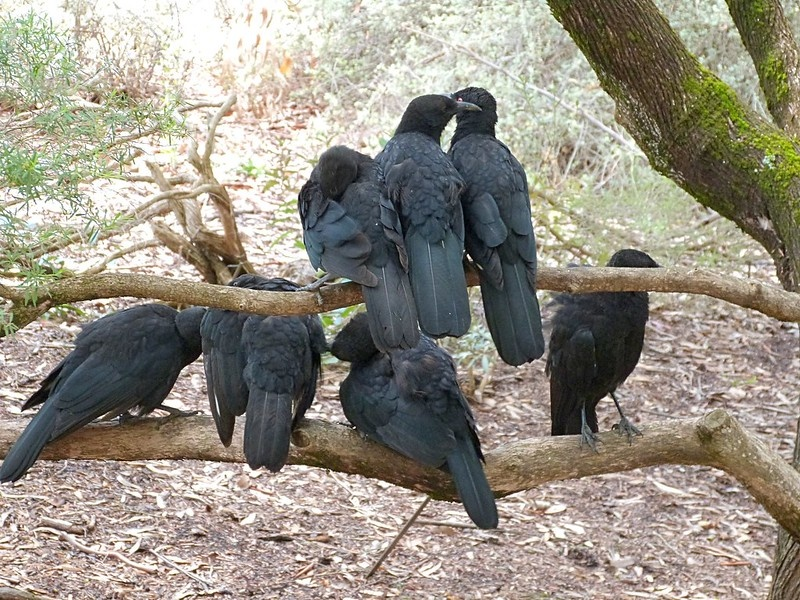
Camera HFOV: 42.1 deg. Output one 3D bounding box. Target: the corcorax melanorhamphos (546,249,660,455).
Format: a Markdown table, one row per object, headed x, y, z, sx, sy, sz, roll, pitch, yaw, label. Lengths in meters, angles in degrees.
| x | y | z | sx | sy | sz | roll | pitch | yaw | label |
| --- | --- | --- | --- | --- | --- | --- | --- | --- | --- |
| 1.135 | 0.295 | 5.891 | 0.701 | 1.119 | 0.770 | -4 | 16 | 12 | corcorax melanorhamphos |

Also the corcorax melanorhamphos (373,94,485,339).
| x | y | z | sx | sy | sz | roll | pitch | yaw | label |
| --- | --- | --- | --- | --- | --- | --- | --- | --- | --- |
| 0.139 | -0.423 | 5.429 | 0.571 | 1.289 | 0.593 | 1 | -18 | 2 | corcorax melanorhamphos |

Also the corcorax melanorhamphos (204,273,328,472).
| x | y | z | sx | sy | sz | roll | pitch | yaw | label |
| --- | --- | --- | --- | --- | --- | --- | --- | --- | --- |
| -0.674 | 0.431 | 5.381 | 0.655 | 0.737 | 0.697 | -9 | 15 | -4 | corcorax melanorhamphos |

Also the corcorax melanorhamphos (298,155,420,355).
| x | y | z | sx | sy | sz | roll | pitch | yaw | label |
| --- | --- | --- | --- | --- | --- | --- | --- | --- | --- |
| -0.209 | -0.312 | 5.162 | 0.525 | 0.661 | 1.160 | -14 | 43 | -9 | corcorax melanorhamphos |
